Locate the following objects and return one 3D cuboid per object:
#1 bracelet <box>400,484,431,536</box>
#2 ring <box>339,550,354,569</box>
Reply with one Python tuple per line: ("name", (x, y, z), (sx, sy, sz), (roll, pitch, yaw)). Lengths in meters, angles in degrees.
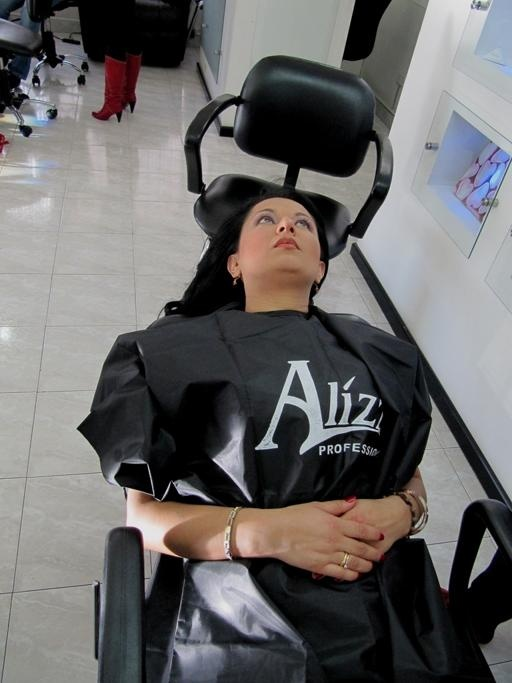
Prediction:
("bracelet", (0.272, 0.290, 0.885), (0.031, 0.063, 0.074), (12, 49, -32))
("ring", (0.128, 0.311, 0.733), (0.018, 0.006, 0.018), (4, 80, -23))
